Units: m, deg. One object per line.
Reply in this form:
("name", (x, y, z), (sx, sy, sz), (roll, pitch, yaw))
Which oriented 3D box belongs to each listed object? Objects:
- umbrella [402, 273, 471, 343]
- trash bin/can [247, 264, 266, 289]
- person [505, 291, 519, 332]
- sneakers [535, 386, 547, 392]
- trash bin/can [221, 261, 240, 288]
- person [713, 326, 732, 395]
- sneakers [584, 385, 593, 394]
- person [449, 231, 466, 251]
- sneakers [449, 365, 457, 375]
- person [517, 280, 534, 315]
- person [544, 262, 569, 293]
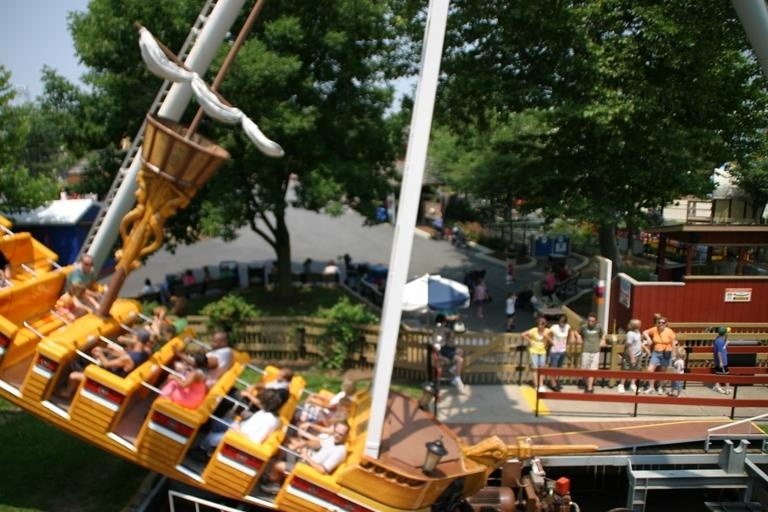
("umbrella", (1.562, 1.567, 22.339), (1.530, 1.093, 1.482), (-11, 21, -35))
("trash bin/can", (-6.011, 0.932, 34.679), (0.942, 1.264, 0.958), (0, -3, -2))
("person", (5.023, 2.231, 28.635), (0.426, 0.423, 1.313), (-14, -26, 1))
("sneakers", (4.843, 4.027, 22.224), (0.228, 0.137, 0.383), (-1, -7, 5))
("trash bin/can", (-7.176, 0.769, 34.006), (0.804, 1.277, 1.406), (1, 32, -8))
("person", (10.478, 3.220, 22.630), (0.453, 1.981, 1.190), (3, -13, 27))
("sneakers", (6.290, 4.052, 22.409), (0.288, 0.241, 0.554), (5, -13, 16))
("person", (4.762, -1.072, 46.613), (1.262, 1.133, 0.491), (-2, -16, 42))
("sneakers", (2.145, 3.544, 22.584), (0.140, 0.391, 0.162), (10, -2, -16))
("person", (5.872, 1.840, 30.172), (0.831, 0.914, 0.472), (1, -14, 32))
("person", (7.574, 0.966, 31.980), (1.011, 1.117, 2.029), (6, -2, 12))
